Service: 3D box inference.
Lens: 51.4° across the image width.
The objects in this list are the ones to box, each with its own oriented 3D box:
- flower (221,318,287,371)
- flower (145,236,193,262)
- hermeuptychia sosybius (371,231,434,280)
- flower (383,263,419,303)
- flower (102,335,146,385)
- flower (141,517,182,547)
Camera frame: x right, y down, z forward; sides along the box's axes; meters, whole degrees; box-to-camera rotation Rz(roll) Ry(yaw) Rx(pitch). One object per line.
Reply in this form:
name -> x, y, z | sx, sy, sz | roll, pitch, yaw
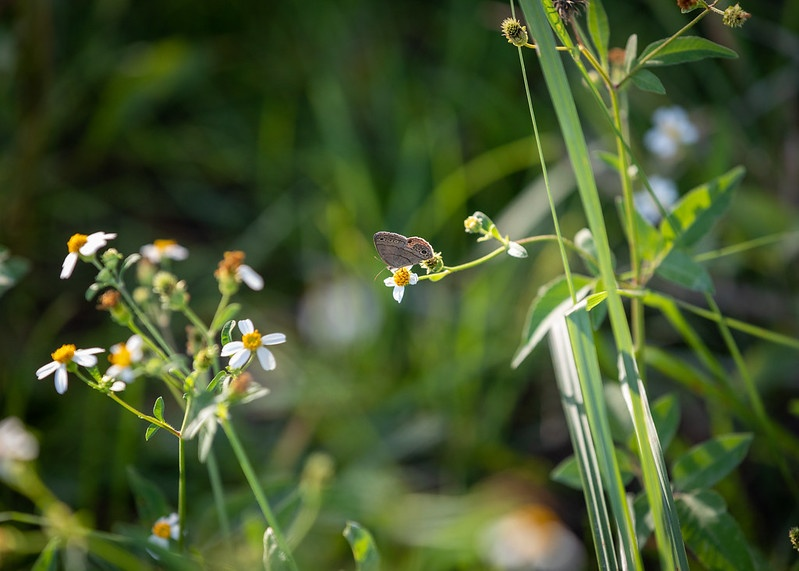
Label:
flower -> -0.464, 0.198, 2.552 | 0.155, 0.045, 0.183 | -10, 12, 14
flower -> -0.806, -0.121, 2.814 | 0.138, 0.072, 0.231 | -10, 4, -18
hermeuptychia sosybius -> 0.000, -0.131, 2.565 | 0.127, 0.144, 0.096 | -38, 35, 16
flower -> 0.006, -0.031, 2.552 | 0.113, 0.066, 0.108 | -2, -13, -39
flower -> -0.889, 0.240, 2.661 | 0.133, 0.061, 0.162 | -6, 29, -33
flower -> -0.763, 0.807, 2.659 | 0.101, 0.045, 0.109 | -30, 33, 33
